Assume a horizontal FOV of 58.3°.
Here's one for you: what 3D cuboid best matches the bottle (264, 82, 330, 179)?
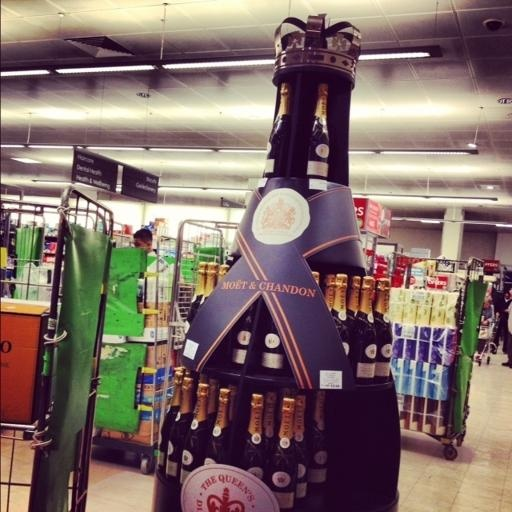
[{"bbox_3d":[0.201,-0.524,1.984,0.280,0.407,0.214,8,-1,15],"label":"bottle"}]
